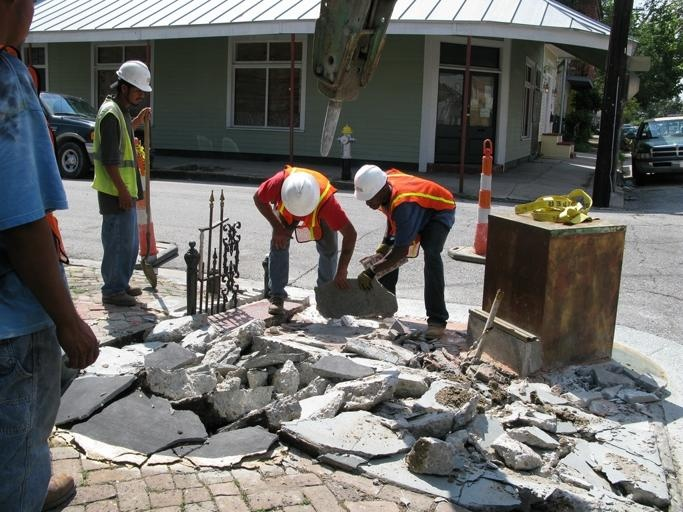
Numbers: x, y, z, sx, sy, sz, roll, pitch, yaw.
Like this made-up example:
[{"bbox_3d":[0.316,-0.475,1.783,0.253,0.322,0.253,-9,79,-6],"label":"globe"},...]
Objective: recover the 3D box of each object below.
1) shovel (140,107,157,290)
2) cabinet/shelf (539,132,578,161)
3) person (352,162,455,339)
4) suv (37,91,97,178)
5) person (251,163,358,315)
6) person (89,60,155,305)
[{"bbox_3d":[-1.943,-0.389,6.258,0.194,2.102,0.269,2,11,-8],"label":"shovel"},{"bbox_3d":[8.282,-4.207,24.132,1.268,0.881,2.424,1,11,6],"label":"cabinet/shelf"},{"bbox_3d":[0.568,-0.058,5.759,0.963,1.619,0.750,-9,21,-21],"label":"person"},{"bbox_3d":[-5.908,-2.888,14.940,1.372,1.837,2.979,-1,7,-9],"label":"suv"},{"bbox_3d":[-0.317,-0.144,5.852,0.845,1.556,0.671,11,31,7],"label":"person"},{"bbox_3d":[-1.957,-0.674,5.668,0.457,2.126,0.736,0,10,-1],"label":"person"}]
